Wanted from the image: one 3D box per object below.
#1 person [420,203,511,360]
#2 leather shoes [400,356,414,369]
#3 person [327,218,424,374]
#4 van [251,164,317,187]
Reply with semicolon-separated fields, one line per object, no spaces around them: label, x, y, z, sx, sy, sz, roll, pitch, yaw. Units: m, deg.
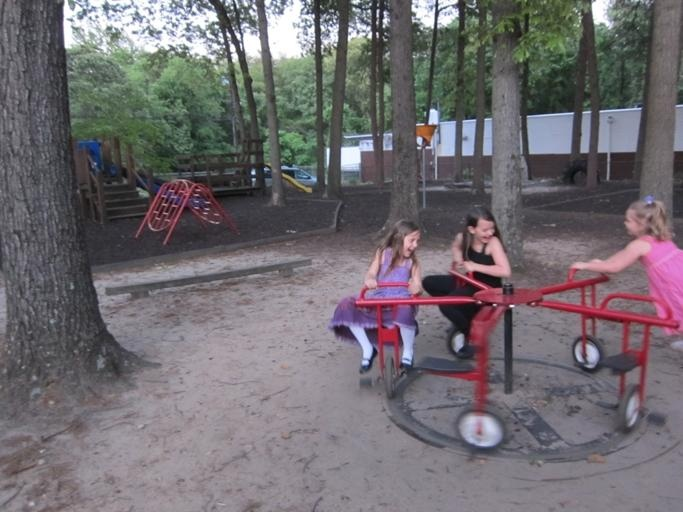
person;1.312;0.266;6.669;0.694;1.595;0.917;-10;17;-24
leather shoes;0.622;1.022;6.092;0.077;0.117;0.116;6;17;15
person;0.383;0.470;6.271;0.976;1.532;0.828;-6;15;-9
van;-3.177;-4.250;36.624;3.342;1.877;2.077;-6;13;-18
